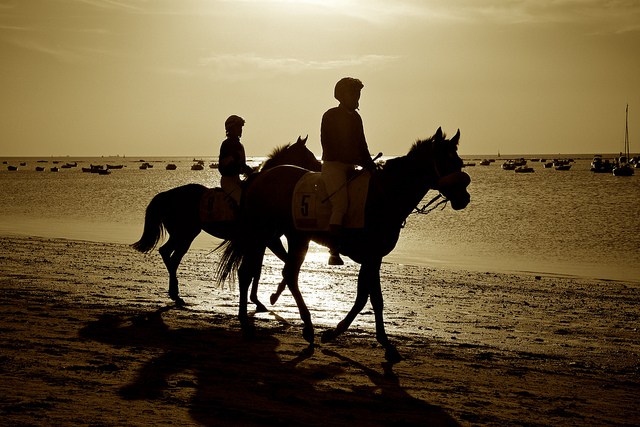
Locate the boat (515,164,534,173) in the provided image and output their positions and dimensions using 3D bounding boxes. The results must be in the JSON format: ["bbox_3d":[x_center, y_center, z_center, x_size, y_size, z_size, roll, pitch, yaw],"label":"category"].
[{"bbox_3d":[37.133,-8.222,167.982,3.736,1.157,2.519,-4,11,-1],"label":"boat"}]

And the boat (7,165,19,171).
[{"bbox_3d":[-65.050,-9.695,194.779,1.951,0.869,2.699,-5,12,-41],"label":"boat"}]

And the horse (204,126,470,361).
[{"bbox_3d":[0.274,0.698,20.520,6.782,4.462,1.772,2,-3,33],"label":"horse"}]

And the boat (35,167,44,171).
[{"bbox_3d":[-57.913,-9.269,189.781,1.708,0.703,2.154,9,6,27],"label":"boat"}]

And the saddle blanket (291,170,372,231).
[{"bbox_3d":[0.203,-0.226,19.909,1.866,1.283,0.578,11,16,25],"label":"saddle blanket"}]

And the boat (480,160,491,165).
[{"bbox_3d":[45.422,-14.014,253.351,2.252,0.824,3.840,4,9,10],"label":"boat"}]
